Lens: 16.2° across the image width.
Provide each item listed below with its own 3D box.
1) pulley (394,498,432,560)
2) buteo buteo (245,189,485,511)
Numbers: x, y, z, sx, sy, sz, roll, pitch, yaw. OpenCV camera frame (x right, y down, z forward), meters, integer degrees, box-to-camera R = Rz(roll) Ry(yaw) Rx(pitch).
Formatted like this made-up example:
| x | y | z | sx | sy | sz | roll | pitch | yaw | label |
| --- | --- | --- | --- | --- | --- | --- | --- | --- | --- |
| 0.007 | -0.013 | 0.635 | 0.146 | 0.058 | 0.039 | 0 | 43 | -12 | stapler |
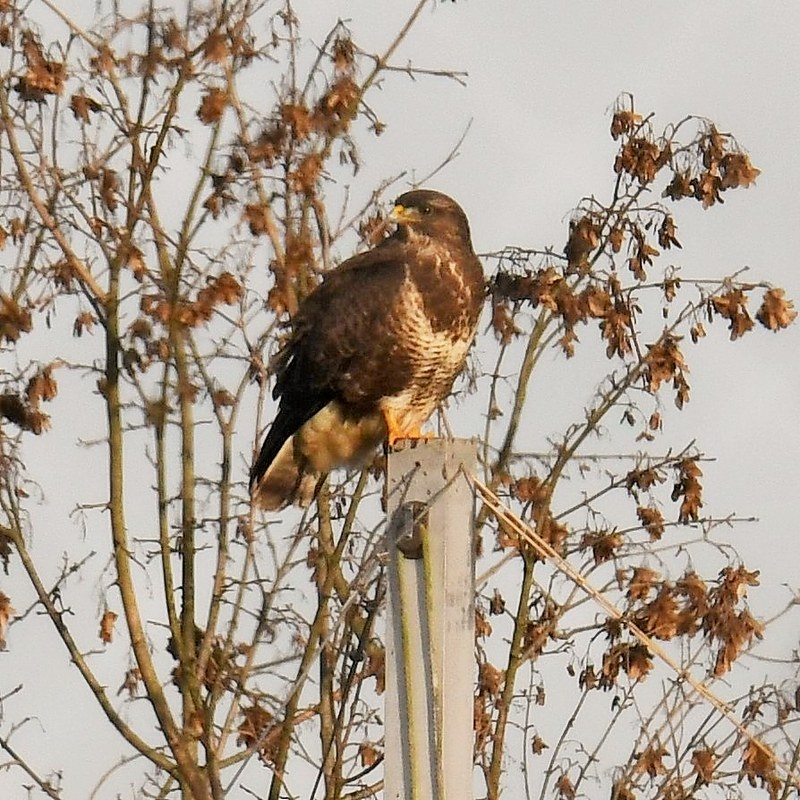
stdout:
| x | y | z | sx | sy | sz | roll | pitch | yaw | label |
| --- | --- | --- | --- | --- | --- | --- | --- | --- | --- |
| 0.037 | 0.506 | 10.501 | 0.091 | 0.061 | 0.218 | 0 | -31 | 19 | pulley |
| -0.240 | -0.355 | 12.173 | 0.838 | 0.688 | 1.675 | -2 | -78 | 6 | buteo buteo |
